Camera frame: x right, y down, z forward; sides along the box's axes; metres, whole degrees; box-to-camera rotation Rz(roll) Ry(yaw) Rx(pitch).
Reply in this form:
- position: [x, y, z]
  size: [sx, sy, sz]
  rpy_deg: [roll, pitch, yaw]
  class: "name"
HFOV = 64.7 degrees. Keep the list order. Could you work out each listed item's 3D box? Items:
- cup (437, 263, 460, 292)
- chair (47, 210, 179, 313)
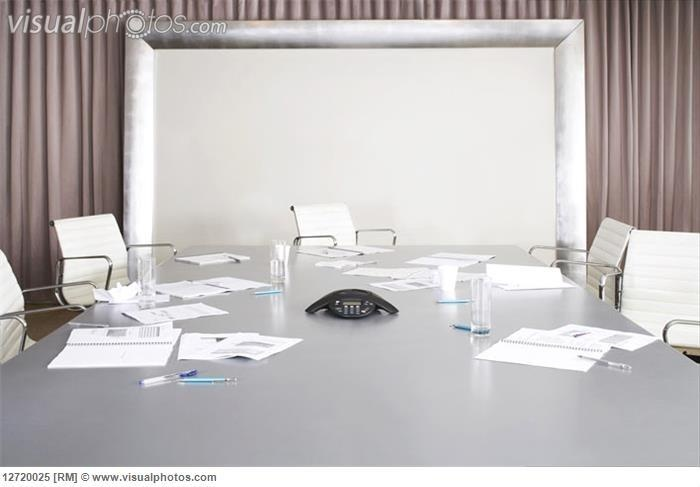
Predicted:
- position: [0.400, 0.155, 2.359]
  size: [0.100, 0.123, 0.096]
  rpy_deg: [-1, -4, 0]
  class: "cup"
- position: [-1.523, 0.247, 3.463]
  size: [0.636, 0.821, 0.644]
  rpy_deg: [-2, 9, -12]
  class: "chair"
